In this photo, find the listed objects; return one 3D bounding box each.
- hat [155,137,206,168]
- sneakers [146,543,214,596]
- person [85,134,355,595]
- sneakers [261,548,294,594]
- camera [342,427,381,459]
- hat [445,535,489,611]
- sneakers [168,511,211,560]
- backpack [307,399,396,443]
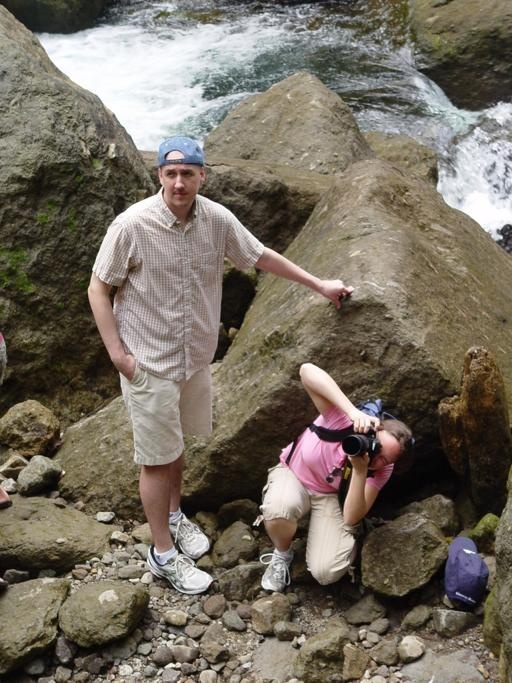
[{"bbox_3d":[-0.320,-0.795,3.048,0.179,0.121,0.213,-4,20,-5],"label":"hat"},{"bbox_3d":[-0.396,1.086,3.499,0.349,0.125,0.146,20,31,12],"label":"sneakers"},{"bbox_3d":[-0.310,0.135,3.358,0.474,2.092,0.787,13,28,34],"label":"person"},{"bbox_3d":[0.094,1.082,3.465,0.149,0.080,0.210,6,35,10],"label":"sneakers"},{"bbox_3d":[0.430,0.413,2.960,0.136,0.069,0.124,5,16,-37],"label":"camera"},{"bbox_3d":[0.893,0.989,3.119,0.176,0.104,0.275,4,33,2],"label":"hat"},{"bbox_3d":[-0.350,0.996,3.737,0.140,0.109,0.295,-32,51,-33],"label":"sneakers"},{"bbox_3d":[0.446,0.361,3.307,0.332,0.168,0.299,-14,15,-38],"label":"backpack"}]
